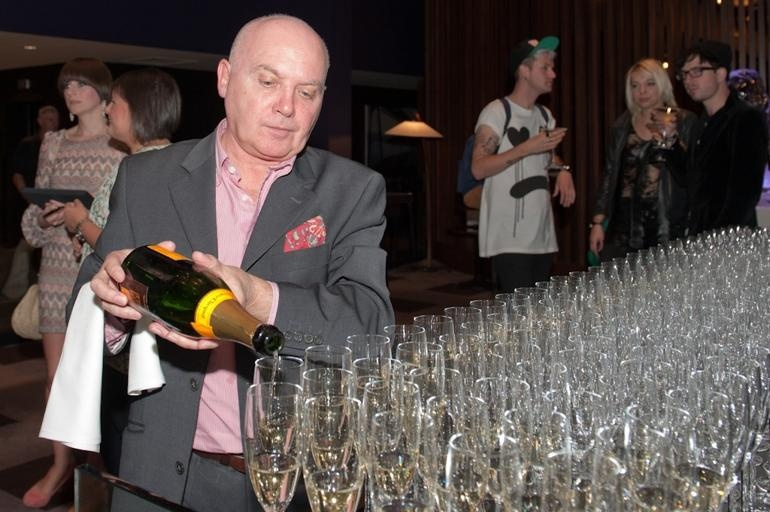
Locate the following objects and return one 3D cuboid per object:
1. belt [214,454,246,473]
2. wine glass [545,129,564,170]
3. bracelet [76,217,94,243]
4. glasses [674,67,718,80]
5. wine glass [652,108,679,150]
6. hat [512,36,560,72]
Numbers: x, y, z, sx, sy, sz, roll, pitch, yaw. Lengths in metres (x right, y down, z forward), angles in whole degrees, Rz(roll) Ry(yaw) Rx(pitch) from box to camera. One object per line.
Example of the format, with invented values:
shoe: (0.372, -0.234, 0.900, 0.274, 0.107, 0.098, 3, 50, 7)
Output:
belt: (-0.487, 0.652, 1.974, 0.094, 0.041, 0.100, 4, -3, -35)
wine glass: (1.067, -0.649, 3.931, 0.176, 0.284, 0.094, -2, 3, -26)
bracelet: (-1.429, -0.131, 2.974, 0.097, 0.116, 0.082, -1, -5, 41)
glasses: (1.802, -1.069, 3.660, 0.108, 0.062, 0.263, -2, 4, -18)
wine glass: (1.591, -0.742, 3.544, 0.121, 0.240, 0.221, 1, 4, 23)
hat: (0.916, -1.303, 3.895, 0.182, 0.162, 0.296, -10, -18, -33)
